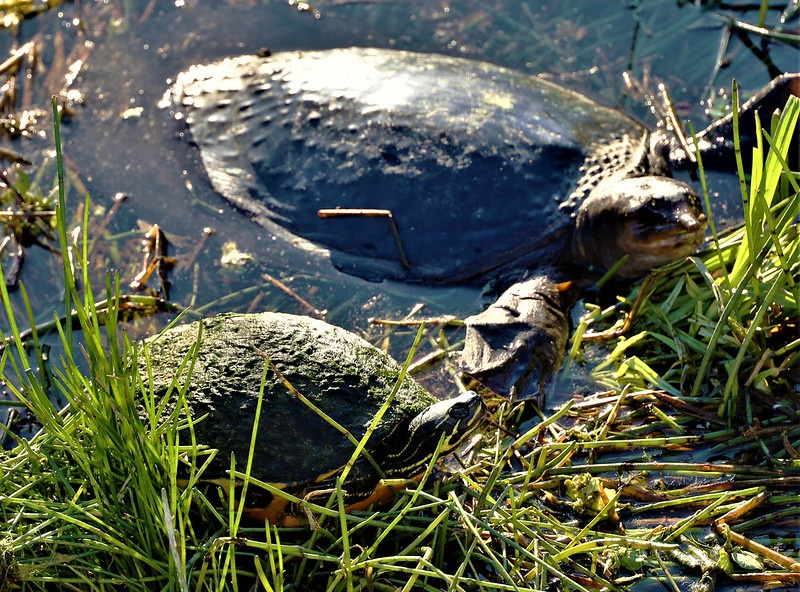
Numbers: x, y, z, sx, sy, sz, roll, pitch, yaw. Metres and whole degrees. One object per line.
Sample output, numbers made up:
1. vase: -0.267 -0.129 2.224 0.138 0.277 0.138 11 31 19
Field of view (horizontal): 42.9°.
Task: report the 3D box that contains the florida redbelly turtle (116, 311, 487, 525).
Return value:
1. florida redbelly turtle: -0.366 0.486 4.266 1.217 0.450 0.885 16 15 17
